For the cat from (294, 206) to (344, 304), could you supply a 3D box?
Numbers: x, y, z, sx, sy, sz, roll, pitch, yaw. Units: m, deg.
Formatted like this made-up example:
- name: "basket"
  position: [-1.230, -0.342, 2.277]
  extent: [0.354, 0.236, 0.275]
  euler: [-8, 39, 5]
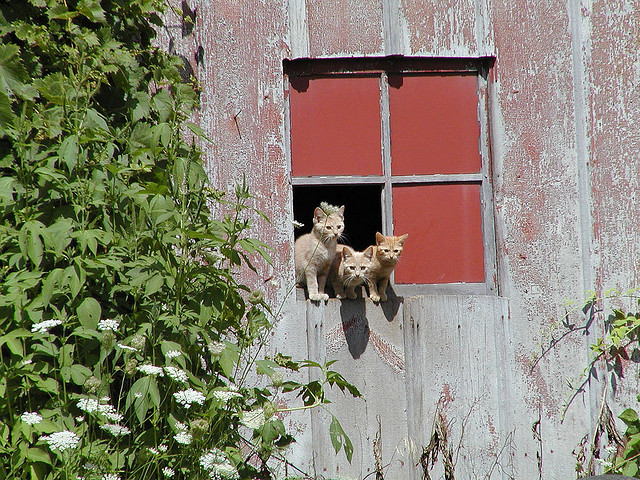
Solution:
- name: "cat"
  position: [-0.027, 0.082, 5.880]
  extent: [0.167, 0.483, 0.438]
  euler: [5, -1, -26]

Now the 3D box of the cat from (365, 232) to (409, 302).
- name: "cat"
  position: [0.317, 0.128, 5.830]
  extent: [0.146, 0.371, 0.411]
  euler: [7, 2, -11]

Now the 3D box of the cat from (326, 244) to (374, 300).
- name: "cat"
  position: [0.166, 0.158, 5.916]
  extent: [0.149, 0.320, 0.526]
  euler: [0, 9, -7]
